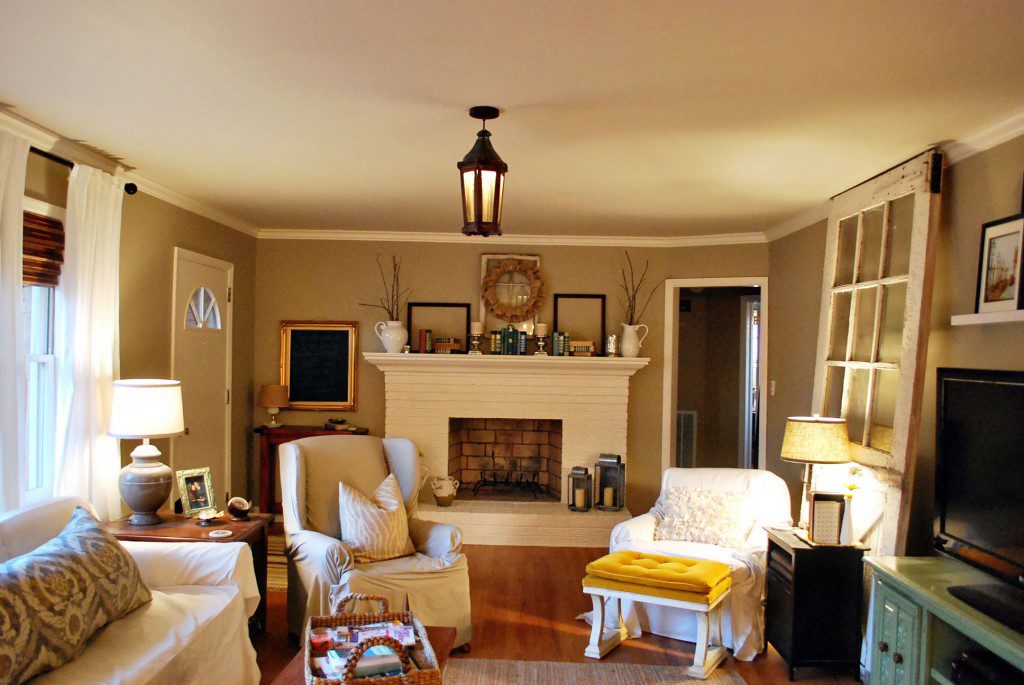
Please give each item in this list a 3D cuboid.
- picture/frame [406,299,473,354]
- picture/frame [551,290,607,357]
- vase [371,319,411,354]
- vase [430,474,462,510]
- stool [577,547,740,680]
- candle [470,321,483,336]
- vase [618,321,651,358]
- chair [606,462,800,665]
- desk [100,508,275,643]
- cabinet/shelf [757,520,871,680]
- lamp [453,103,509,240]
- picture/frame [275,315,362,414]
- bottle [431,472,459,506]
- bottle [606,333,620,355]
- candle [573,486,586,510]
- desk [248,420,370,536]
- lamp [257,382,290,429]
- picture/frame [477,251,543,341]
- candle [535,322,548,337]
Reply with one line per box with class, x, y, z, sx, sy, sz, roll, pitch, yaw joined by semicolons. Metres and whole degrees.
picture/frame;-0.724;-0.161;7.575;0.568;0.519;0.528;-1;-4;1
picture/frame;0.648;-0.201;7.363;0.649;0.772;0.053;0;-3;-2
vase;-1.157;-0.070;7.278;0.345;0.316;0.272;0;1;-8
vase;-0.635;1.400;7.180;0.272;0.219;0.227;3;-6;-11
stool;0.917;1.859;4.780;0.995;0.671;0.668;-2;-5;29
candle;-0.341;-0.149;7.383;0.121;0.134;0.119;-7;14;-35
vase;1.158;-0.029;7.276;0.212;0.310;0.323;4;8;28
chair;1.310;1.441;5.375;1.004;1.167;1.354;-4;-14;29
desk;-2.090;1.348;4.991;0.881;0.853;0.883;0;-2;-9
cabinet/shelf;2.088;1.632;5.231;0.695;1.196;1.002;1;-6;5
lamp;-0.155;-0.913;4.022;0.284;0.646;0.260;-2;5;-27
picture/frame;-1.893;0.233;7.374;0.922;0.991;0.114;0;-3;-3
bottle;-0.611;1.372;7.208;0.297;0.261;0.250;-1;-9;10
bottle;0.966;0.010;7.305;0.107;0.199;0.197;1;7;5
candle;0.626;1.440;7.049;0.122;0.199;0.098;1;7;2
desk;-2.047;1.395;7.369;1.524;1.397;0.877;0;-4;-11
lamp;-2.272;0.587;7.222;0.252;0.396;0.294;-1;7;-16
picture/frame;-0.001;-0.474;7.362;0.862;0.853;0.212;-6;1;2
candle;0.273;-0.130;7.332;0.126;0.119;0.124;6;7;26
